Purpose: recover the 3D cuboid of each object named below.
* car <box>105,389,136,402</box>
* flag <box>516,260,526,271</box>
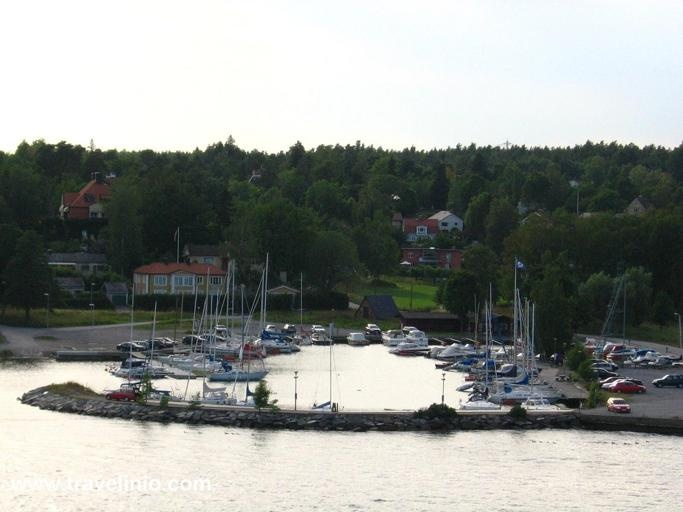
[{"bbox_3d":[-21.591,14.020,166.438,2.722,1.075,1.319,3,-2,6],"label":"car"},{"bbox_3d":[22.626,1.253,209.016,1.229,1.498,0.194,0,-1,-4],"label":"flag"}]
